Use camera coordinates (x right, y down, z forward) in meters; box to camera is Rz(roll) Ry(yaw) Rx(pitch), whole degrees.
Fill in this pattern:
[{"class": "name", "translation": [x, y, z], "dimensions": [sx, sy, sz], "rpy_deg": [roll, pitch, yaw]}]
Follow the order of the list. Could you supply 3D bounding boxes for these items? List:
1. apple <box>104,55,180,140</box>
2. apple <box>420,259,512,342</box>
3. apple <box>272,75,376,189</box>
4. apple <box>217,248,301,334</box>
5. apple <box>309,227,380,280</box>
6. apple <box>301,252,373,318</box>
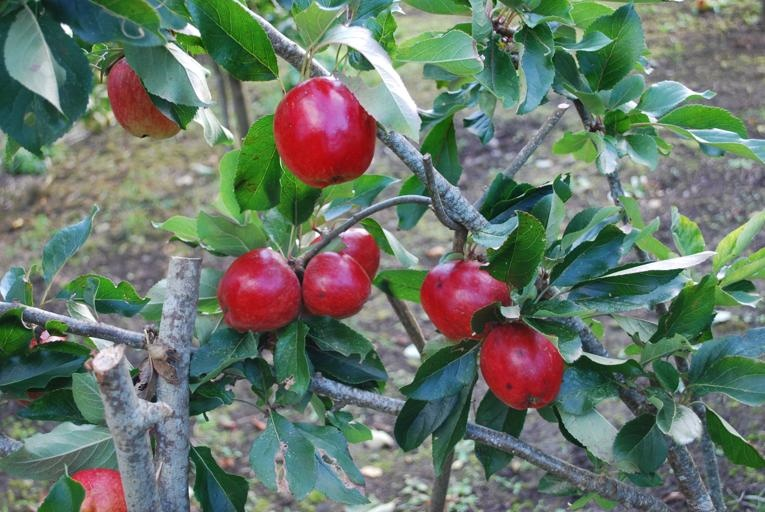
[{"class": "apple", "translation": [-0.675, -0.482, 2.323], "dimensions": [0.219, 0.223, 0.275], "rpy_deg": [-2, 102, 5]}, {"class": "apple", "translation": [0.232, 0.087, 2.180], "dimensions": [0.218, 0.226, 0.260], "rpy_deg": [-3, 100, -5]}, {"class": "apple", "translation": [-0.166, -0.333, 2.040], "dimensions": [0.267, 0.260, 0.301], "rpy_deg": [-7, 80, 19]}, {"class": "apple", "translation": [-0.361, 0.111, 2.255], "dimensions": [0.232, 0.228, 0.252], "rpy_deg": [16, 87, -1]}, {"class": "apple", "translation": [-0.113, -0.024, 2.354], "dimensions": [0.164, 0.174, 0.181], "rpy_deg": [-5, 92, -2]}, {"class": "apple", "translation": [-0.138, 0.082, 2.223], "dimensions": [0.191, 0.111, 0.161], "rpy_deg": [8, 58, 1]}]
